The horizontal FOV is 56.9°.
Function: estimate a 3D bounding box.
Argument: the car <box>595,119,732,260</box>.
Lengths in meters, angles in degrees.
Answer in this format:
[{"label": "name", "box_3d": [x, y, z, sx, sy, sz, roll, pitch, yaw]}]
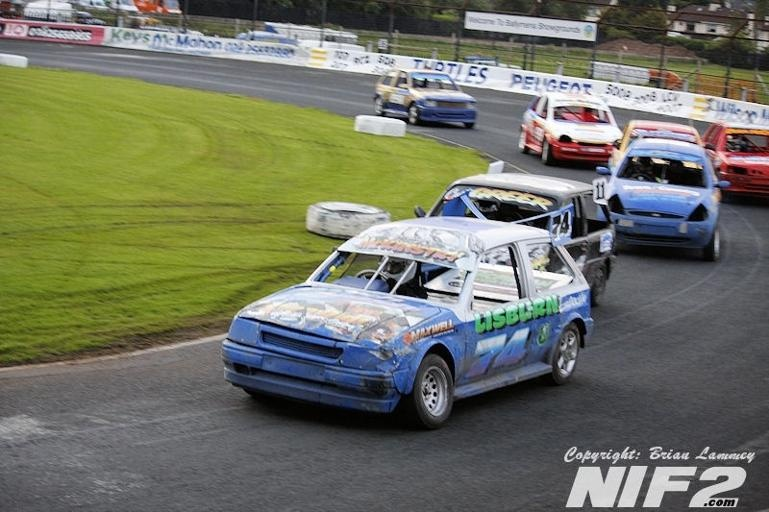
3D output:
[{"label": "car", "box_3d": [5.962, -1.197, 15.182, 2.376, 2.235, 2.326, 5, 17, 12]}]

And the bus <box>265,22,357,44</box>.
[{"label": "bus", "box_3d": [-5.085, -15.612, 49.791, 7.655, 0.679, 2.977, 3, 13, 1]}]

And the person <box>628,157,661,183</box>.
[{"label": "person", "box_3d": [5.748, -1.922, 15.557, 0.632, 0.618, 0.351, 2, -6, 10]}]

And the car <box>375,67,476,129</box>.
[{"label": "car", "box_3d": [1.514, -6.280, 28.173, 2.052, 2.117, 3.680, -10, 18, -33]}]

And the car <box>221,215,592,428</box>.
[{"label": "car", "box_3d": [0.419, 0.656, 7.656, 1.823, 1.901, 3.495, 17, 21, 41]}]
